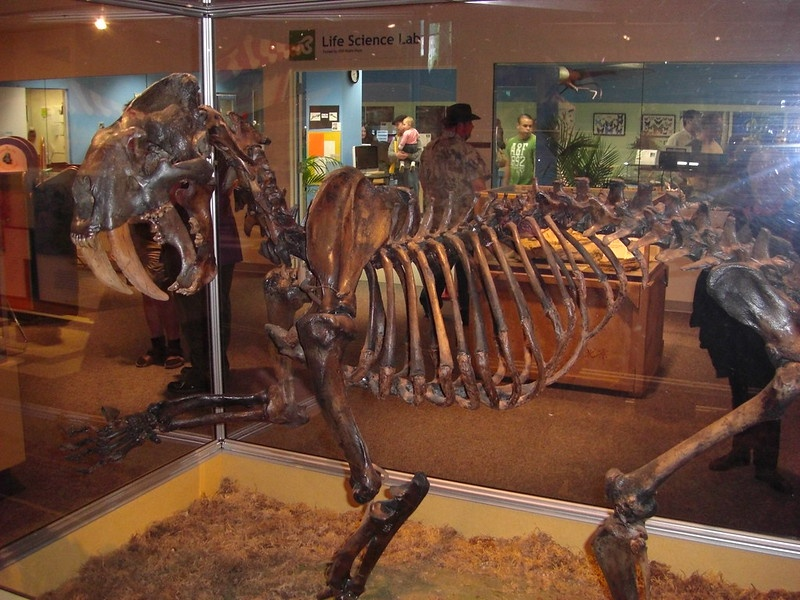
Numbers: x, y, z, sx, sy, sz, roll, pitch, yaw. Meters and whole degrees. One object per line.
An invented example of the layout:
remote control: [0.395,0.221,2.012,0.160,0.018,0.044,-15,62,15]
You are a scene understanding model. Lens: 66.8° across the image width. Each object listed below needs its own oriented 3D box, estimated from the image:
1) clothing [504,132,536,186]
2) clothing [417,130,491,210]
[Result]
clothing: [0.643,-0.729,3.203,0.214,0.294,0.110,12,24,36]
clothing: [0.263,-0.713,3.374,0.464,0.423,0.259,11,15,33]
